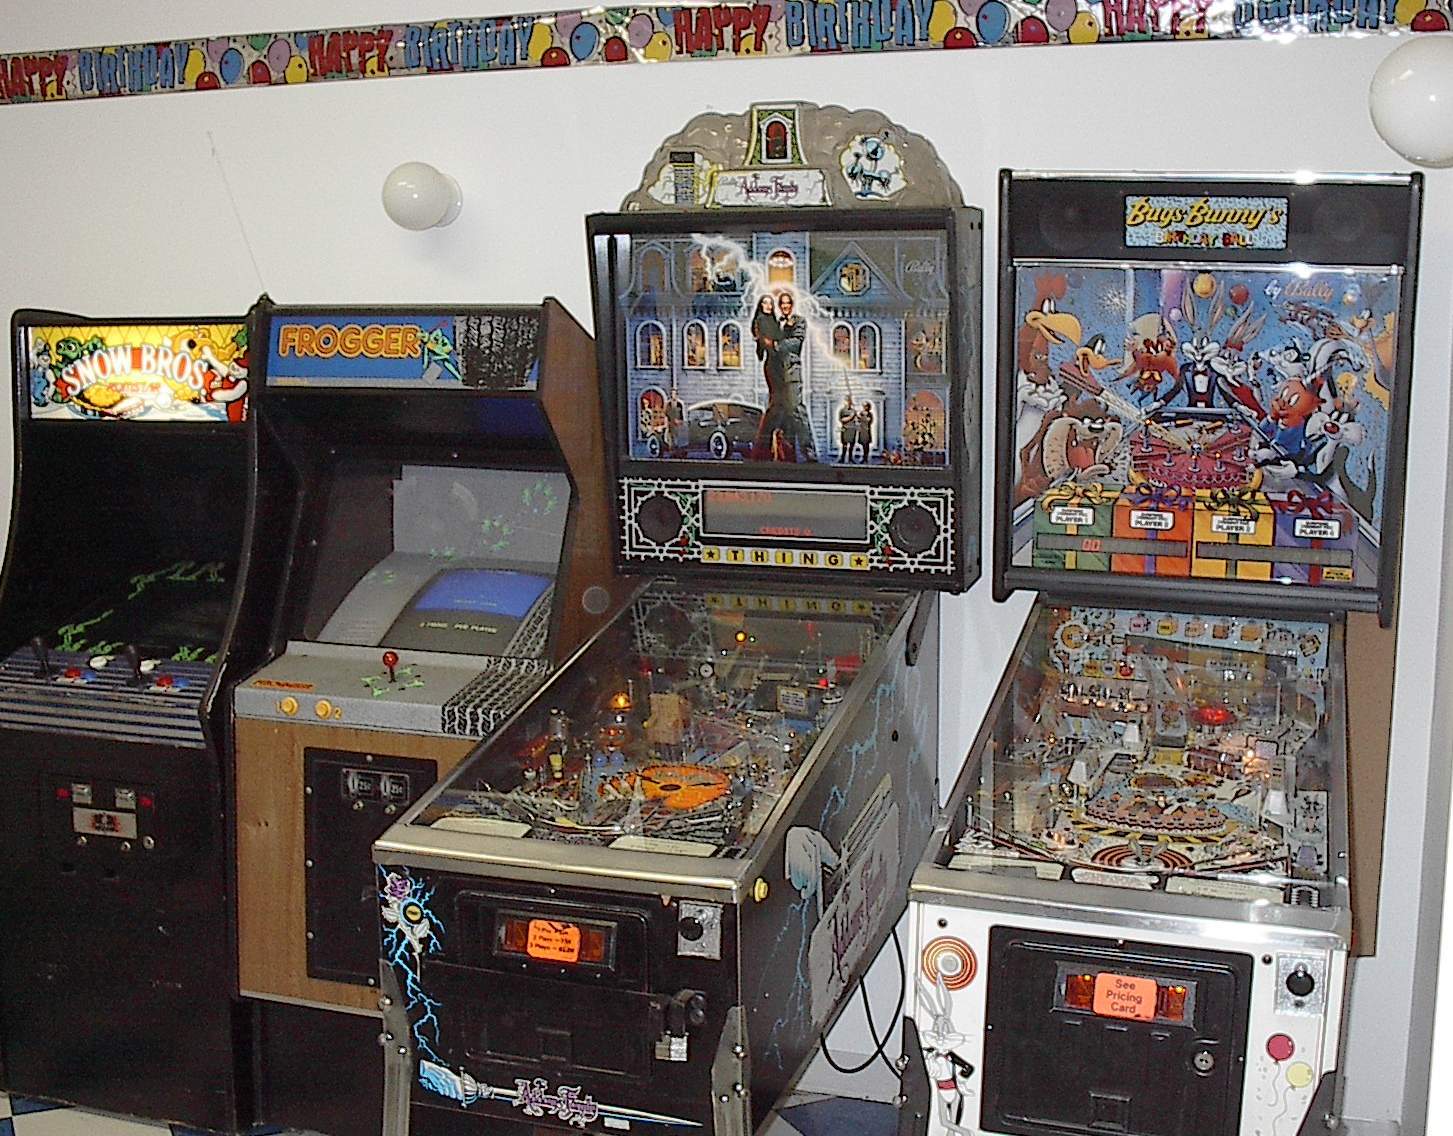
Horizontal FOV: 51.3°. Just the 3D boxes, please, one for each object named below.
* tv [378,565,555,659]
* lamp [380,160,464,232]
[{"bbox_3d":[-0.644,0.102,3.824,0.402,0.187,0.228,6,12,15],"label":"tv"},{"bbox_3d":[-0.808,-1.021,4.100,0.172,0.203,0.205,-7,27,0],"label":"lamp"}]
